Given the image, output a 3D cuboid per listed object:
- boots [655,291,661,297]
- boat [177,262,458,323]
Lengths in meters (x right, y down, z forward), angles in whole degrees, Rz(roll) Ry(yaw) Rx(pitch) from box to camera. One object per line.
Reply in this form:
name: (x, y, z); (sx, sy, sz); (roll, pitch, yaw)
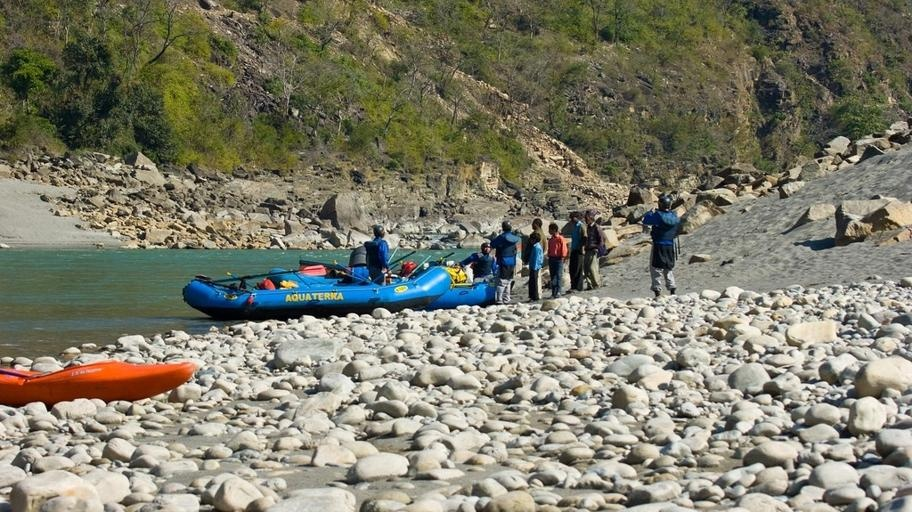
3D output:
boots: (10.591, 1.967, 58.432); (0.414, 0.385, 0.273); (2, 13, 6)
boat: (-7.482, 2.042, 59.362); (13.229, 2.659, 1.016); (0, 1, -2)
